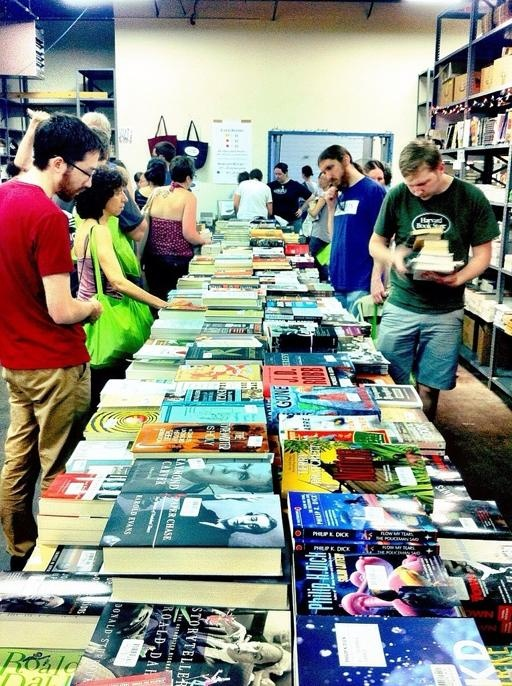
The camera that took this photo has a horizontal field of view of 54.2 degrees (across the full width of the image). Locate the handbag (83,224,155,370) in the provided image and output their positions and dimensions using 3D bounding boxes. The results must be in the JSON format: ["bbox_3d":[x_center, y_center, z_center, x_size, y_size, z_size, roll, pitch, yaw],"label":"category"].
[{"bbox_3d":[-0.661,-0.210,2.380,0.312,0.656,0.393,-4,22,-11],"label":"handbag"}]

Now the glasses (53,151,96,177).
[{"bbox_3d":[-0.545,-0.549,1.553,0.078,0.022,0.074,27,23,2],"label":"glasses"}]

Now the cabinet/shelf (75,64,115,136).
[{"bbox_3d":[-2.886,-4.239,9.304,0.722,1.478,0.423,-7,31,-14],"label":"cabinet/shelf"}]
